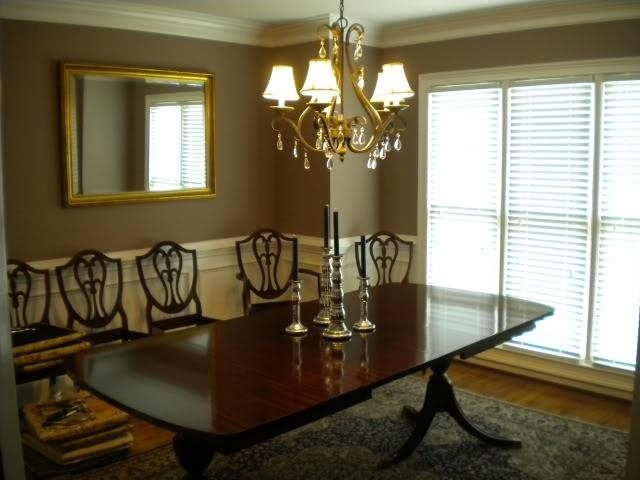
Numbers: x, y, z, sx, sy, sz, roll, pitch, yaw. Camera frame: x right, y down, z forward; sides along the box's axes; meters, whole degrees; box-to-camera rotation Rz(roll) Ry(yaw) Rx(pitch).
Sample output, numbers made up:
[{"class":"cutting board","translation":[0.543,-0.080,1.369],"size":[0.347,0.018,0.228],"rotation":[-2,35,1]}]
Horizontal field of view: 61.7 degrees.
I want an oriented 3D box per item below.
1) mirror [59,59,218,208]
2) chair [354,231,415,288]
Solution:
[{"class":"mirror","translation":[-1.486,-0.863,4.241],"size":[1.163,1.001,0.088],"rotation":[-5,7,-41]},{"class":"chair","translation":[0.594,0.149,5.053],"size":[0.470,0.851,0.544],"rotation":[-1,3,-1]}]
